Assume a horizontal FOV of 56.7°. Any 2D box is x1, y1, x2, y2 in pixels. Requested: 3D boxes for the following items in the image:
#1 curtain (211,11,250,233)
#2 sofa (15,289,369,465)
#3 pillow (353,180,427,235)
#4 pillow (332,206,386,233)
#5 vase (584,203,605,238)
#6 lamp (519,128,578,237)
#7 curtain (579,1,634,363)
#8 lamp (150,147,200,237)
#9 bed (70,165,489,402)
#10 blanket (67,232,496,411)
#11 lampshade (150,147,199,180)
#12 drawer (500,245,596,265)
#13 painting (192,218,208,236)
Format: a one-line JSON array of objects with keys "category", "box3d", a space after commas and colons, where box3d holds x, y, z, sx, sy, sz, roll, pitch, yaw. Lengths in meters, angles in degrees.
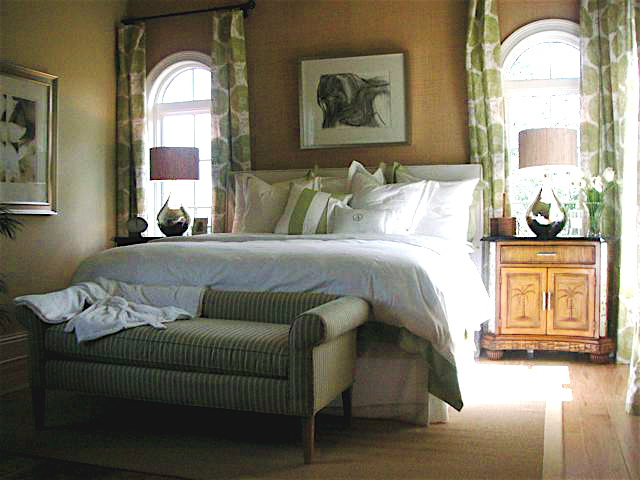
[{"category": "curtain", "box3d": [-0.876, -1.124, 6.030, 0.364, 2.214, 0.164, 1, 4, 20]}, {"category": "sofa", "box3d": [-0.708, 0.726, 3.386, 1.820, 0.807, 0.390, 2, 9, 12]}, {"category": "pillow", "box3d": [0.606, -0.267, 4.970, 0.590, 0.422, 0.404, 4, 4, 29]}, {"category": "pillow", "box3d": [0.317, -0.157, 4.683, 0.405, 0.195, 0.283, 1, 8, 4]}, {"category": "vase", "box3d": [2.253, -0.163, 4.904, 0.152, 0.282, 0.367, 4, 9, 25]}, {"category": "lamp", "box3d": [1.941, -0.457, 5.186, 0.542, 0.956, 0.565, 0, 1, 22]}, {"category": "curtain", "box3d": [2.343, -0.609, 5.000, 0.428, 2.819, 0.521, 3, 9, 21]}, {"category": "lamp", "box3d": [-1.438, -0.474, 5.900, 0.433, 0.907, 0.403, 4, 2, -5]}, {"category": "bed", "box3d": [-0.088, 0.130, 4.666, 2.873, 1.524, 2.069, 1, 1, 28]}, {"category": "blanket", "box3d": [-0.203, 0.453, 5.058, 2.796, 1.060, 3.148, 0, 1, 19]}, {"category": "lampshade", "box3d": [-1.396, -0.738, 5.745, 0.437, 0.317, 0.366, 4, 3, -7]}, {"category": "drawer", "box3d": [1.842, 0.112, 4.809, 0.716, 0.166, 0.052, 2, 9, 10]}, {"category": "painting", "box3d": [-1.178, -0.135, 5.886, 0.158, 0.238, 0.054, 2, -26, -1]}]
